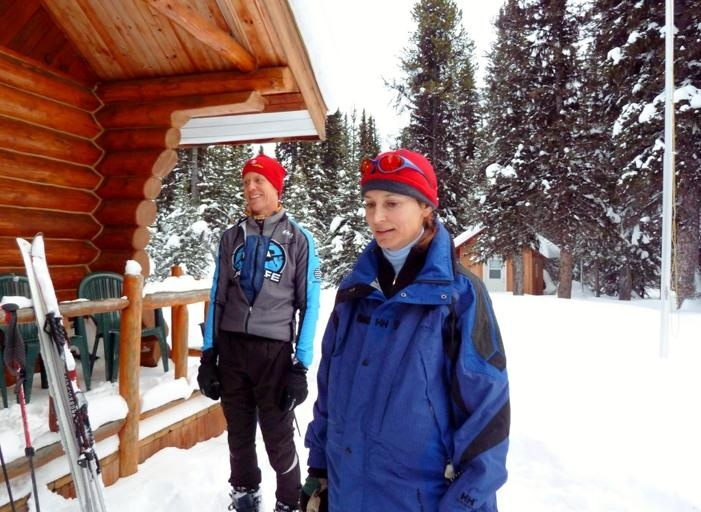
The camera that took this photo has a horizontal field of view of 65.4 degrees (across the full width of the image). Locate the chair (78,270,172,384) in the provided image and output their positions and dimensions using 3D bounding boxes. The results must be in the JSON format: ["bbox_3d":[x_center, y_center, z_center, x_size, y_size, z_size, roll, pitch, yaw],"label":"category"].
[{"bbox_3d":[-3.585,0.979,7.867,1.329,1.887,1.364,-6,-6,38],"label":"chair"}]

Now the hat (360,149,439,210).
[{"bbox_3d":[0.442,-0.681,4.654,0.552,0.408,0.535,7,-10,40],"label":"hat"}]

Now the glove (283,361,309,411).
[{"bbox_3d":[-0.578,1.375,5.694,0.139,0.431,0.312,11,-6,-18],"label":"glove"}]

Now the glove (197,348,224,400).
[{"bbox_3d":[-1.442,1.254,5.788,0.162,0.486,0.355,-3,-24,6],"label":"glove"}]

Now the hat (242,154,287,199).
[{"bbox_3d":[-0.952,-0.940,6.152,0.486,0.465,0.372,4,3,-36],"label":"hat"}]
